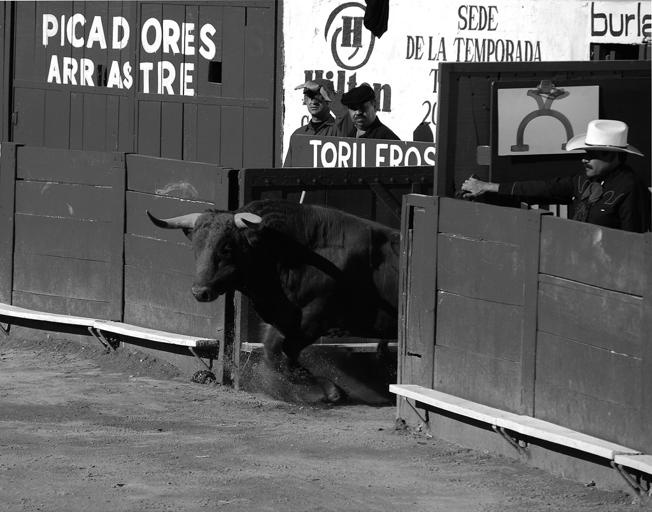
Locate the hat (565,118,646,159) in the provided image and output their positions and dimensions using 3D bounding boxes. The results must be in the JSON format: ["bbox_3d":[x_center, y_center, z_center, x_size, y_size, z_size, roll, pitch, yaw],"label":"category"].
[{"bbox_3d":[2.076,-0.859,10.333,0.368,0.193,0.349,9,9,-1],"label":"hat"}]

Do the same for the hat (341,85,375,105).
[{"bbox_3d":[0.337,-1.528,13.352,0.188,0.079,0.223,-7,21,39],"label":"hat"}]

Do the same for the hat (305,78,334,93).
[{"bbox_3d":[-0.019,-1.806,14.878,0.176,0.060,0.202,12,5,16],"label":"hat"}]
